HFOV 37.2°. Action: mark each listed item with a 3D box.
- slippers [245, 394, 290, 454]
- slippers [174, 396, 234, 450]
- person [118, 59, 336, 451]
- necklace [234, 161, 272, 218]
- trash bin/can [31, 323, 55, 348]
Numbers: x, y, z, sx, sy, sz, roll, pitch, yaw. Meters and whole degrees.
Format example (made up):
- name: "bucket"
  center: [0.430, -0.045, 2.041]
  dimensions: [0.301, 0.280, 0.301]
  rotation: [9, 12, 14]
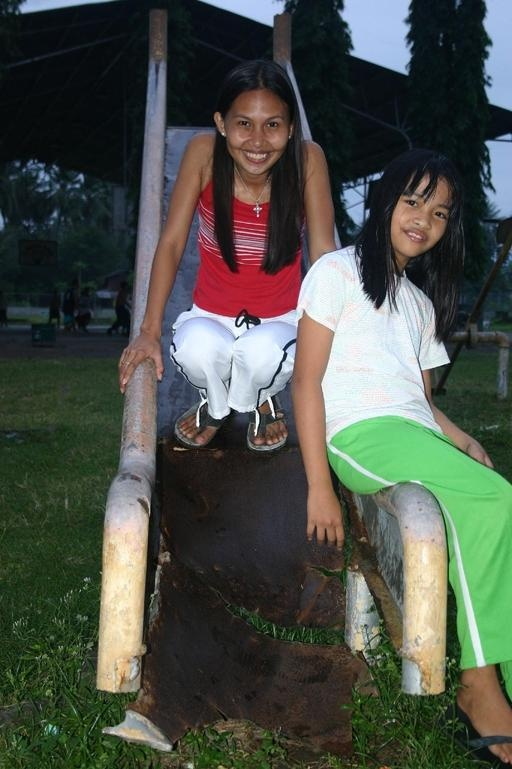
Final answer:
- name: "slippers"
  center: [0.035, 0.125, 2.247]
  dimensions: [0.154, 0.123, 0.291]
  rotation: [1, 12, -2]
- name: "slippers"
  center: [-0.174, 0.111, 2.228]
  dimensions: [0.126, 0.111, 0.265]
  rotation: [5, 13, 17]
- name: "person"
  center: [-0.124, -0.338, 2.297]
  dimensions: [0.557, 1.224, 0.604]
  rotation: [2, 21, -14]
- name: "necklace"
  center: [-0.015, -0.583, 2.354]
  dimensions: [0.087, 0.134, 0.076]
  rotation: [-5, 14, -12]
- name: "trash bin/can"
  center: [-3.560, -0.818, 12.791]
  dimensions: [0.514, 0.428, 0.343]
  rotation: [2, 3, 14]
